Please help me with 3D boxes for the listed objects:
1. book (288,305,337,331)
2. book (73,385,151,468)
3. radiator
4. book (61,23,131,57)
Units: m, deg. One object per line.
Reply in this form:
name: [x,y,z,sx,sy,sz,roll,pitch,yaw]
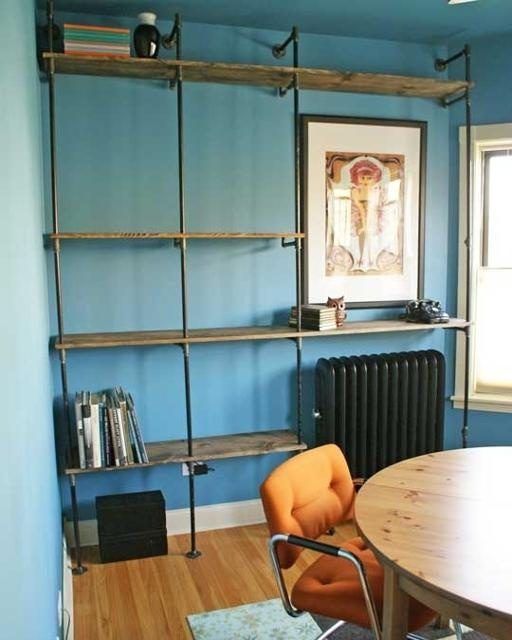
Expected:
book: [0.308,-0.005,2.994,0.130,0.094,0.184,-2,6,-31]
book: [-0.684,0.494,2.748,0.321,0.315,0.328,-1,6,-19]
radiator: [0.617,0.483,2.989,0.635,0.656,0.180,-2,7,-18]
book: [-0.667,-1.152,2.449,0.257,0.109,0.040,-1,5,-12]
